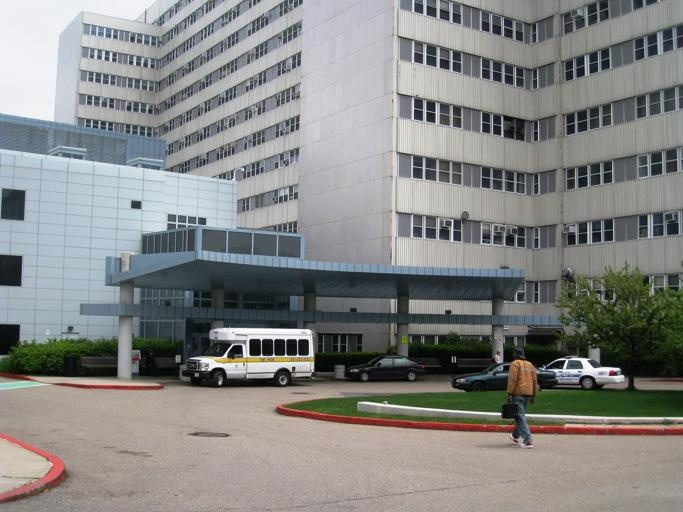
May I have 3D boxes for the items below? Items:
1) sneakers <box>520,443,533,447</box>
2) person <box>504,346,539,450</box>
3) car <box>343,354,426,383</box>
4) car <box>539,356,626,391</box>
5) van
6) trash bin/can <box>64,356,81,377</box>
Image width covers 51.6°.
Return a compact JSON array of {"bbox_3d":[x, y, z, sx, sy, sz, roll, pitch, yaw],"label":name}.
[{"bbox_3d":[4.153,4.283,15.892,0.288,0.112,0.093,0,-2,-15],"label":"sneakers"},{"bbox_3d":[4.158,3.265,16.287,0.652,2.245,0.972,-4,-9,12],"label":"person"},{"bbox_3d":[2.462,6.765,41.819,4.355,1.285,1.781,4,-9,-14],"label":"car"},{"bbox_3d":[11.740,5.902,34.678,3.808,1.132,1.699,0,-4,32],"label":"car"},{"bbox_3d":[-4.428,5.191,35.886,5.588,2.424,3.097,7,-12,-30],"label":"van"},{"bbox_3d":[-14.911,6.124,39.284,0.857,1.120,0.743,4,-11,-33],"label":"trash bin/can"}]
